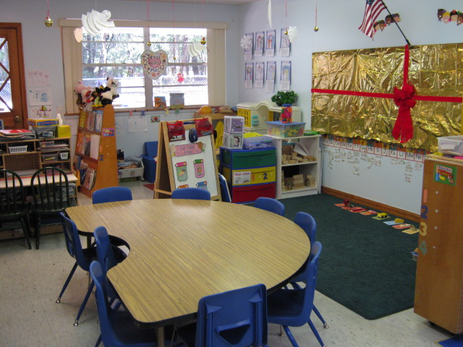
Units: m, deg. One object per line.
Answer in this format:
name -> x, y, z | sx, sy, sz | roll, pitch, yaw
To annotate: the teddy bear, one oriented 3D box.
teddy bear -> -2.536, -1.467, 7.088 | 0.769, 0.488, 0.637 | -1, 4, 45
